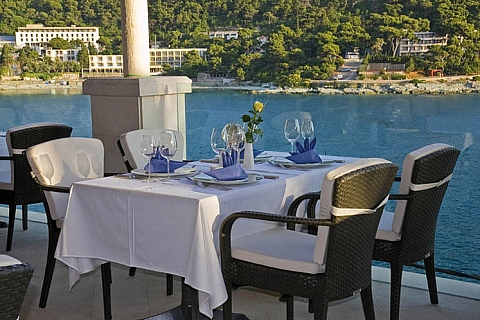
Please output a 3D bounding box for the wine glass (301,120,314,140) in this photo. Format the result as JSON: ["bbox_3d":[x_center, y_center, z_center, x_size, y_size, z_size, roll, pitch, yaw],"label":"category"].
[{"bbox_3d":[0.571,-0.265,4.371,0.103,0.163,0.275,2,11,16],"label":"wine glass"}]

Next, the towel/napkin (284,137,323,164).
[{"bbox_3d":[0.540,-0.087,4.181,0.187,0.143,0.264,0,6,20],"label":"towel/napkin"}]

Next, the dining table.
[{"bbox_3d":[-0.241,0.096,3.894,1.042,0.638,1.881,12,22,32],"label":"dining table"}]

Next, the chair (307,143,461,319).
[{"bbox_3d":[1.195,0.389,4.251,1.048,1.677,0.934,8,12,42],"label":"chair"}]
